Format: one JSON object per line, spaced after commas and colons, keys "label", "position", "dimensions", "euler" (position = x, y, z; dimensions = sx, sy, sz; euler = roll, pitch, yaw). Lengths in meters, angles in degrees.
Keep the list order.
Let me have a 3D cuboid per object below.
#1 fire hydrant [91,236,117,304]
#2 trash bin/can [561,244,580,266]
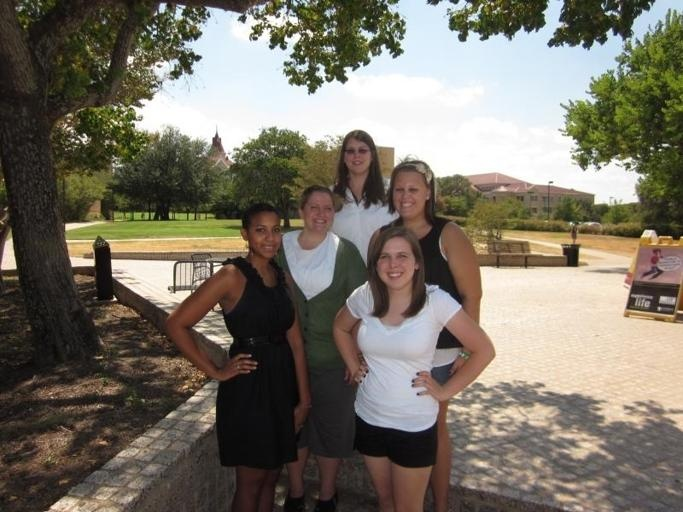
{"label": "fire hydrant", "position": [-6.124, 0.334, 12.350], "dimensions": [0.426, 1.627, 0.930], "euler": [-2, 8, -27]}
{"label": "trash bin/can", "position": [11.706, -0.040, 24.767], "dimensions": [0.987, 1.144, 1.018], "euler": [0, -4, 1]}
